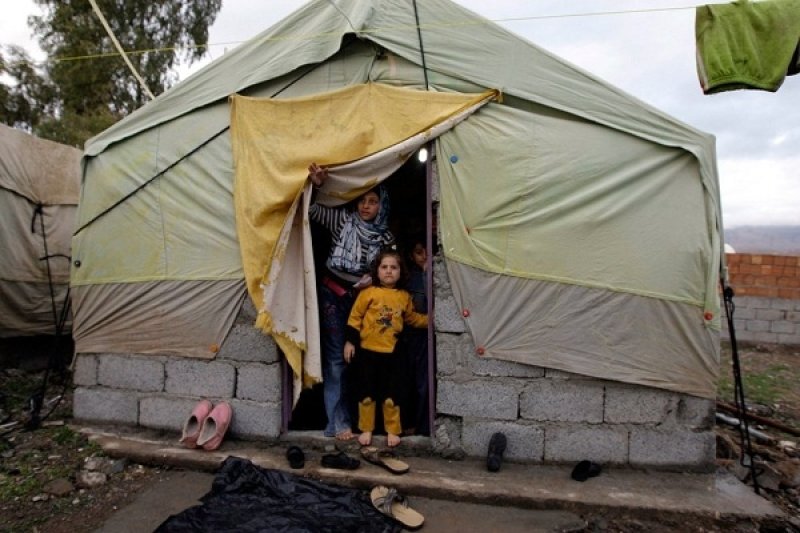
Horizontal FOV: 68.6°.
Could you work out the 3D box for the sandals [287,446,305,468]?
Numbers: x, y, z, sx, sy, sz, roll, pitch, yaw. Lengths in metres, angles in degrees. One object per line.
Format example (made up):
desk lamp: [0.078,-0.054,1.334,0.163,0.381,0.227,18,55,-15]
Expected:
sandals: [-0.999,1.833,5.636,0.208,0.173,0.176,-1,-6,11]

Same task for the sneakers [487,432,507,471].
sneakers: [0.910,1.754,5.551,0.176,0.332,0.109,8,-17,10]

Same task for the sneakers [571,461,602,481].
sneakers: [1.734,1.909,5.468,0.149,0.180,0.199,9,-17,-38]

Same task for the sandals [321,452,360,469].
sandals: [-0.575,1.847,5.604,0.281,0.111,0.156,-1,2,5]

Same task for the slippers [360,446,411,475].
slippers: [-0.141,1.841,5.588,0.200,0.101,0.427,-10,21,-42]
